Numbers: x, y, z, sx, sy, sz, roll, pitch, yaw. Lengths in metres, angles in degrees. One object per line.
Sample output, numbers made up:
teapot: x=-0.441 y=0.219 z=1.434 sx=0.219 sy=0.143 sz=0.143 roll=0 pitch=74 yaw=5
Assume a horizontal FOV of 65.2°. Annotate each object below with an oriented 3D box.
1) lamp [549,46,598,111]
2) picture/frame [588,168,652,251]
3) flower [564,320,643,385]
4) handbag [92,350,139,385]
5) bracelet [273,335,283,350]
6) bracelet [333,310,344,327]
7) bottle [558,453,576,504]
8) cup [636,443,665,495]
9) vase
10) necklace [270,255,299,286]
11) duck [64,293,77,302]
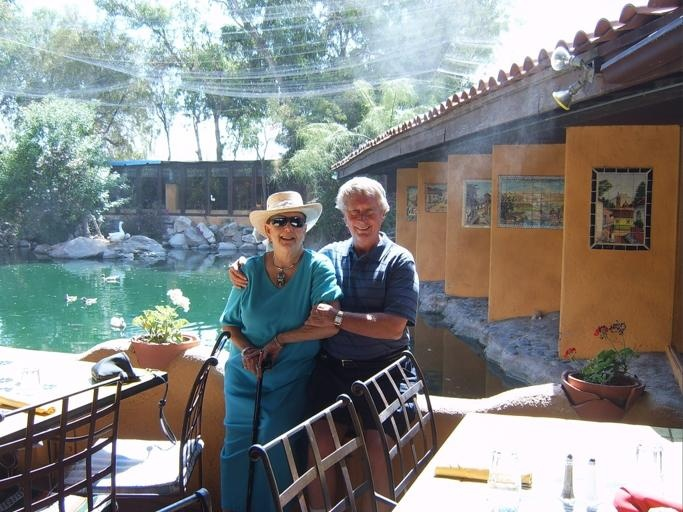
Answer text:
lamp: x=1.943 y=-1.509 z=4.567 sx=0.467 sy=0.518 sz=0.214 roll=-13 pitch=3 yaw=-5
picture/frame: x=3.300 y=-0.565 z=6.280 sx=0.855 sy=1.369 sz=0.049 roll=1 pitch=2 yaw=13
flower: x=2.675 y=0.961 z=5.406 sx=0.553 sy=0.526 sz=0.708 roll=-2 pitch=-3 yaw=17
handbag: x=-1.355 y=0.667 z=3.181 sx=0.300 sy=0.113 sz=0.272 roll=-7 pitch=17 yaw=-38
bracelet: x=-0.387 y=0.522 z=3.216 sx=0.025 sy=0.071 sz=0.062 roll=-19 pitch=-31 yaw=2
bracelet: x=-0.021 y=0.370 z=3.152 sx=0.052 sy=0.075 sz=0.075 roll=4 pitch=43 yaw=2
bottle: x=0.897 y=0.837 z=2.117 sx=0.053 sy=0.204 sz=0.196 roll=2 pitch=7 yaw=24
cup: x=1.213 y=0.830 z=2.106 sx=0.097 sy=0.158 sz=0.310 roll=3 pitch=7 yaw=31
vase: x=2.001 y=1.102 z=4.135 sx=0.396 sy=0.232 sz=0.418 roll=0 pitch=5 yaw=27
necklace: x=-0.355 y=0.094 z=3.341 sx=0.140 sy=0.233 sz=0.100 roll=8 pitch=6 yaw=11
duck: x=-6.916 y=1.098 z=13.697 sx=0.293 sy=0.135 sz=0.345 roll=0 pitch=1 yaw=-10
